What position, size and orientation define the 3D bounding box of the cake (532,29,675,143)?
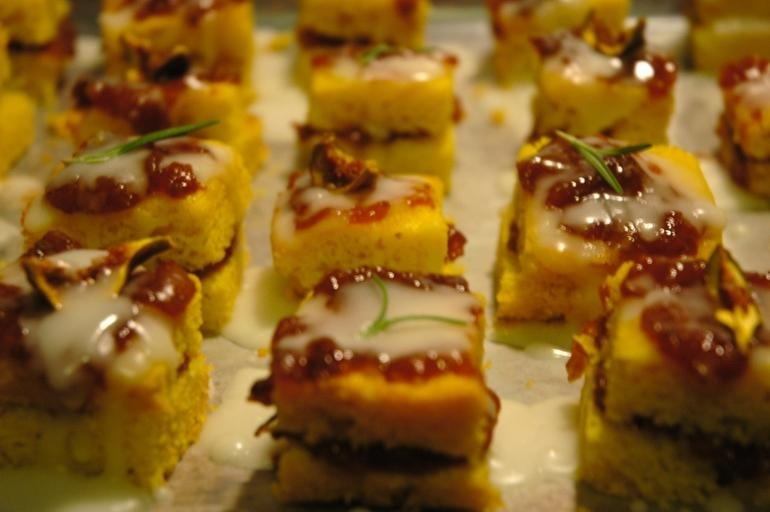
[{"bbox_3d":[0.869,-0.709,3.754,0.640,0.211,0.439,7,61,3],"label":"cake"}]
